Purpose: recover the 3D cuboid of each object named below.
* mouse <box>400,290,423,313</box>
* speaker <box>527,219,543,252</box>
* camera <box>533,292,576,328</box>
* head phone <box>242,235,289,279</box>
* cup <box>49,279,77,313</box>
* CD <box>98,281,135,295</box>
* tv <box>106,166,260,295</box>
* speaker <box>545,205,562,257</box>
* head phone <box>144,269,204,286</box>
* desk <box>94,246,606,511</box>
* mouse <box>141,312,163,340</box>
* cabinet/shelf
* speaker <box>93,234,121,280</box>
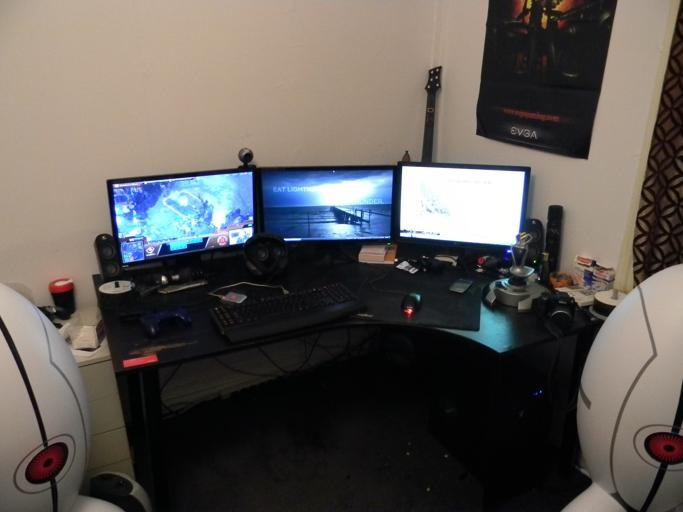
[{"bbox_3d":[0.293,0.199,2.319,0.077,0.055,0.101,11,22,25],"label":"mouse"},{"bbox_3d":[0.909,-0.100,2.619,0.089,0.154,0.086,2,-5,10],"label":"speaker"},{"bbox_3d":[0.866,0.209,2.243,0.132,0.138,0.144,-4,20,-2],"label":"camera"},{"bbox_3d":[-0.349,-0.005,2.598,0.217,0.131,0.248,-12,49,-7],"label":"head phone"},{"bbox_3d":[-1.255,0.191,2.461,0.106,0.154,0.138,-9,22,-27],"label":"cup"},{"bbox_3d":[-1.011,0.138,2.448,0.089,0.033,0.089,-14,35,-35],"label":"CD"},{"bbox_3d":[-0.744,-0.126,2.488,0.516,0.374,0.139,-13,28,-30],"label":"tv"},{"bbox_3d":[0.991,-0.107,2.556,0.069,0.277,0.066,2,7,20],"label":"speaker"},{"bbox_3d":[-0.769,0.096,2.529,0.123,0.030,0.124,13,20,38],"label":"head phone"},{"bbox_3d":[0.021,0.729,2.580,1.682,0.914,1.185,-12,26,-29],"label":"desk"},{"bbox_3d":[-0.763,0.278,2.194,0.053,0.029,0.096,-3,24,-31],"label":"mouse"},{"bbox_3d":[-0.978,0.639,2.237,0.159,0.572,0.184,-9,22,-28],"label":"cabinet/shelf"},{"bbox_3d":[-1.055,0.000,2.449,0.081,0.193,0.144,-10,22,-30],"label":"speaker"}]
